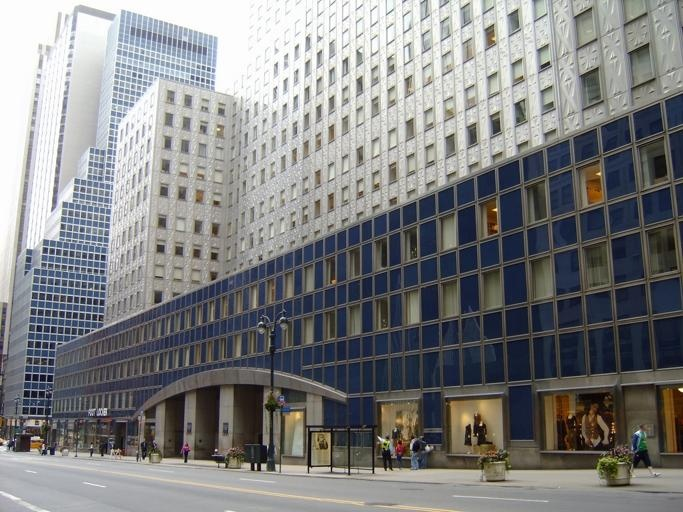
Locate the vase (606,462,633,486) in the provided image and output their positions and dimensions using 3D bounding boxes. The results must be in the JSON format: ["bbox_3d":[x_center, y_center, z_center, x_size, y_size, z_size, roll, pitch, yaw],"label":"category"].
[{"bbox_3d":[10.847,8.548,25.139,0.803,0.690,0.809,14,-22,-38],"label":"vase"}]

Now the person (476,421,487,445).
[{"bbox_3d":[8.433,10.567,38.491,0.177,1.332,0.740,13,-22,-41],"label":"person"}]

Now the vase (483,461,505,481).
[{"bbox_3d":[6.990,9.814,29.282,0.991,0.896,0.805,-6,-18,10],"label":"vase"}]

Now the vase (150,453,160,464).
[{"bbox_3d":[-16.305,17.602,55.986,0.655,0.597,0.746,2,-18,-1],"label":"vase"}]

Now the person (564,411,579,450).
[{"bbox_3d":[12.480,9.448,34.575,0.724,0.621,2.727,-12,-65,13],"label":"person"}]

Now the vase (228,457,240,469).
[{"bbox_3d":[-7.686,14.716,45.500,0.623,0.494,0.707,0,-5,3],"label":"vase"}]
